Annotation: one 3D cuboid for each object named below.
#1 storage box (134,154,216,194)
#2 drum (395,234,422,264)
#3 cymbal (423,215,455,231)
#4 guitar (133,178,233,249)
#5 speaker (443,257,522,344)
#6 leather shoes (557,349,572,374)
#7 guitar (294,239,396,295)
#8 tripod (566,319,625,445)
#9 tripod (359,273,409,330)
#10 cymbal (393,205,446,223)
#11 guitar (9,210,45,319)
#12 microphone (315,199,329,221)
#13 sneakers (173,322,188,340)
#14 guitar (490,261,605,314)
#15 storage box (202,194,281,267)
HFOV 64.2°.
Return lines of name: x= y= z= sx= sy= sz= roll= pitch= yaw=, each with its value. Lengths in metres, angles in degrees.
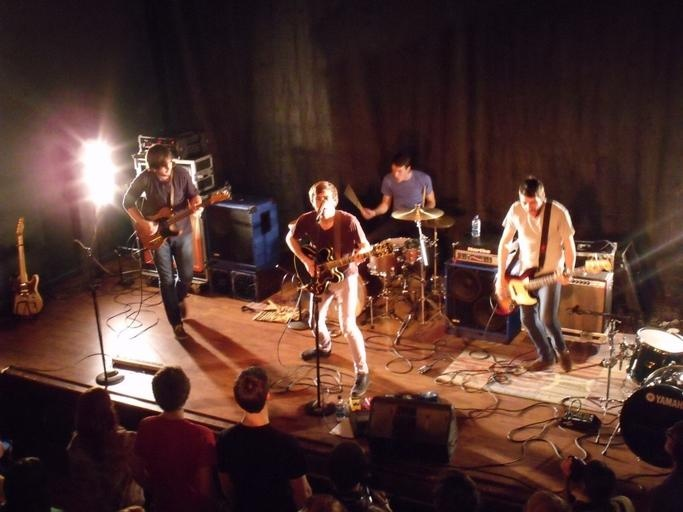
storage box: x=-2.325 y=-1.129 z=7.542 sx=0.942 sy=0.661 sz=0.602 roll=5 pitch=19 yaw=6
drum: x=0.770 y=-0.080 z=6.315 sx=0.270 sy=0.117 sz=0.268 roll=-5 pitch=33 yaw=3
cymbal: x=1.153 y=-0.394 z=6.378 sx=0.225 sy=0.068 sz=0.250 roll=0 pitch=34 yaw=6
guitar: x=-1.883 y=-0.496 z=6.513 sx=0.830 sy=0.342 sz=0.142 roll=-28 pitch=-5 yaw=0
speaker: x=1.577 y=0.324 z=6.499 sx=0.976 sy=1.109 sz=0.795 roll=5 pitch=12 yaw=29
leather shoes: x=2.251 y=1.069 z=5.522 sx=0.113 sy=0.247 sz=0.157 roll=-15 pitch=2 yaw=12
guitar: x=-0.016 y=0.112 z=5.009 sx=0.967 sy=0.474 sz=0.317 roll=-1 pitch=5 yaw=18
tripod: x=2.414 y=1.217 z=5.155 sx=0.720 sy=0.773 sz=0.607 roll=15 pitch=28 yaw=34
tripod: x=0.528 y=0.496 z=6.646 sx=0.565 sy=0.655 sz=0.152 roll=5 pitch=21 yaw=6
cymbal: x=0.852 y=-0.463 z=6.074 sx=0.297 sy=0.080 sz=0.318 roll=7 pitch=33 yaw=18
guitar: x=-4.180 y=0.127 z=7.244 sx=0.343 sy=1.281 sz=0.698 roll=-5 pitch=5 yaw=-31
microphone: x=-0.164 y=-0.411 z=4.962 sx=0.105 sy=0.164 sz=0.045 roll=29 pitch=28 yaw=29
sneakers: x=-1.875 y=0.887 z=6.406 sx=0.103 sy=0.119 sz=0.262 roll=-8 pitch=15 yaw=-28
guitar: x=2.023 y=0.289 z=5.126 sx=0.963 sy=0.561 sz=0.857 roll=-2 pitch=5 yaw=6
storage box: x=-1.305 y=-0.399 z=7.667 sx=1.053 sy=1.163 sz=0.825 roll=7 pitch=18 yaw=25
